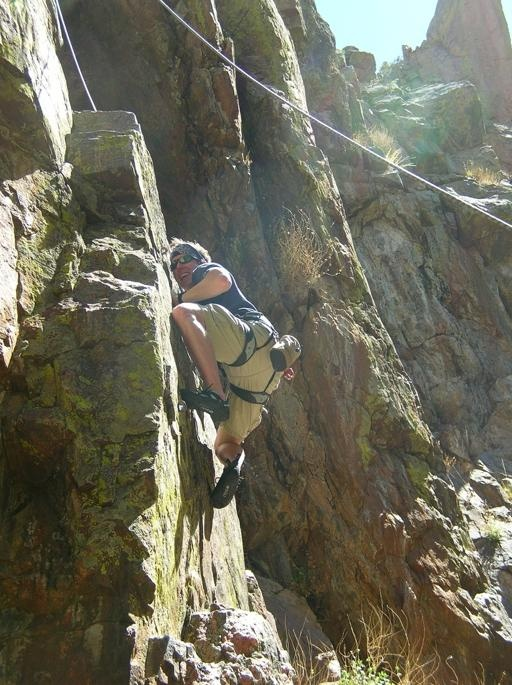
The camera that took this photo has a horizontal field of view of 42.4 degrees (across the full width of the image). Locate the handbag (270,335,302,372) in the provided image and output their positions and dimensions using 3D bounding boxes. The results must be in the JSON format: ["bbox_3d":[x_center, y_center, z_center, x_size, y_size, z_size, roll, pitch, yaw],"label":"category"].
[{"bbox_3d":[0.233,0.082,5.168,0.154,0.237,0.302,9,22,19],"label":"handbag"}]

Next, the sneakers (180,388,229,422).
[{"bbox_3d":[-0.354,0.435,4.472,0.285,0.179,0.124,31,-70,-21],"label":"sneakers"}]

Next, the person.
[{"bbox_3d":[-0.241,0.131,4.929,1.072,2.091,0.668,5,-22,-38],"label":"person"}]

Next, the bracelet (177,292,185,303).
[{"bbox_3d":[-0.546,-0.331,4.813,0.049,0.073,0.026,-28,-34,27],"label":"bracelet"}]
